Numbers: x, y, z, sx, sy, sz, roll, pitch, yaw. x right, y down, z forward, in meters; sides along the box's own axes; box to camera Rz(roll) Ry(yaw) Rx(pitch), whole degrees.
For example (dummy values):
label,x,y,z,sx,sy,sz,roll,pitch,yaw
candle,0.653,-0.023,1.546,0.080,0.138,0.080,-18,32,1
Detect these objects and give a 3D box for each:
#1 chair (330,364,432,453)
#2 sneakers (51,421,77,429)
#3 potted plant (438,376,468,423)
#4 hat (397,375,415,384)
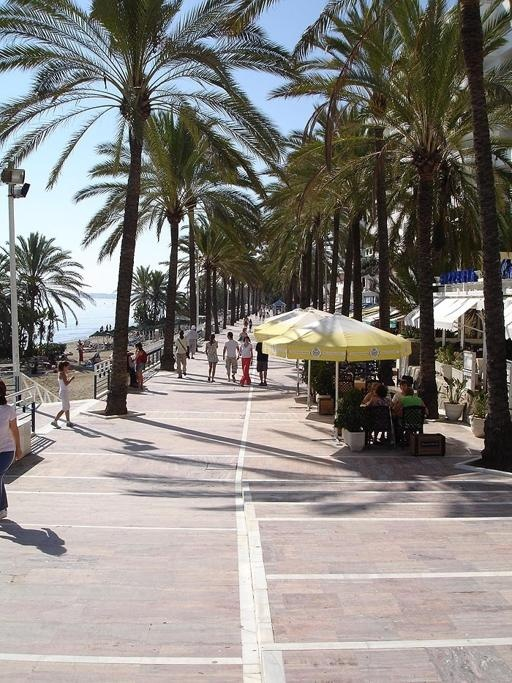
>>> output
label,x,y,z,sx,sy,sz,roll,pitch,yaw
chair,2.817,1.447,11.322,1.338,1.451,0.883,0,-4,9
sneakers,-4.794,2.088,13.602,0.607,0.249,0.207,-1,1,-9
potted plant,5.380,1.583,14.817,0.540,1.128,0.772,-1,-4,20
hat,3.126,0.803,11.507,0.275,0.151,0.219,14,-1,18
